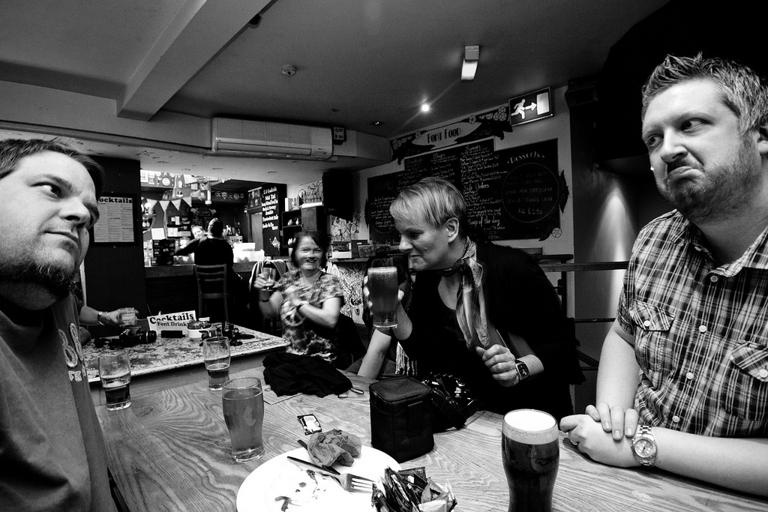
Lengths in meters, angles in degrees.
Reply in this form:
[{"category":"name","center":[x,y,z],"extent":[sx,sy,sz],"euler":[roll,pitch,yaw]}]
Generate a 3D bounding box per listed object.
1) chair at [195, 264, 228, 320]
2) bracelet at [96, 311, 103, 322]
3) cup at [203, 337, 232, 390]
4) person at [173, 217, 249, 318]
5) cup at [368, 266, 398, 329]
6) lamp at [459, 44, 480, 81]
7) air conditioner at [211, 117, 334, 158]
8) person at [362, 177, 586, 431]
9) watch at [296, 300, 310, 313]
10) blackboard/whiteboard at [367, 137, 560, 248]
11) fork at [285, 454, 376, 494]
[{"category":"chair","center":[-2.067,0.435,6.069],"extent":[0.346,0.697,0.353],"euler":[-3,4,-20]},{"category":"bracelet","center":[-1.955,0.413,3.465],"extent":[0.062,0.062,0.039],"euler":[3,14,-46]},{"category":"cup","center":[-0.860,0.552,2.622],"extent":[0.151,0.240,0.145],"euler":[-4,-1,0]},{"category":"person","center":[-2.160,0.159,6.262],"extent":[0.815,1.146,0.796],"euler":[5,-4,31]},{"category":"cup","center":[-0.007,0.193,2.398],"extent":[0.132,0.300,0.153],"euler":[-2,4,-4]},{"category":"lamp","center":[0.740,-1.638,4.280],"extent":[0.148,0.206,0.249],"euler":[-1,4,10]},{"category":"air conditioner","center":[-1.272,-1.332,5.876],"extent":[1.288,0.373,0.281],"euler":[3,-8,-12]},{"category":"person","center":[0.553,0.589,2.861],"extent":[0.926,1.934,1.018],"euler":[-1,7,33]},{"category":"watch","center":[-0.540,0.340,3.369],"extent":[0.073,0.066,0.072],"euler":[0,-4,-36]},{"category":"blackboard/whiteboard","center":[0.897,-0.680,4.923],"extent":[0.018,0.699,1.534],"euler":[3,-5,-45]},{"category":"fork","center":[-0.192,0.806,1.865],"extent":[0.368,0.050,0.043],"euler":[10,-25,27]}]
